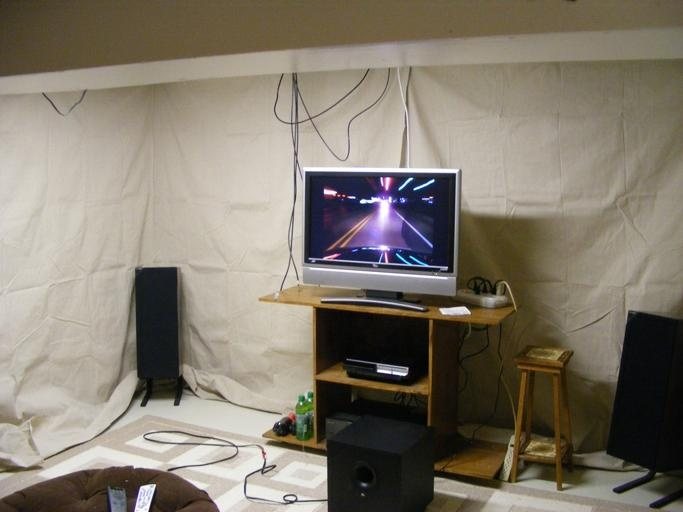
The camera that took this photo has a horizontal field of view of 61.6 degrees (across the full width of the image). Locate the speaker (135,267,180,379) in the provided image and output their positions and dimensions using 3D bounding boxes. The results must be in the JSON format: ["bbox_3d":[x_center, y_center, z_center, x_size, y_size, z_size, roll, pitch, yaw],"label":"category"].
[{"bbox_3d":[-1.285,0.465,4.000,0.296,0.771,0.135,-3,10,-14],"label":"speaker"}]

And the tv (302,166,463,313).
[{"bbox_3d":[0.234,-0.102,3.168,0.758,0.673,0.178,2,4,15],"label":"tv"}]

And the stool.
[{"bbox_3d":[1.098,0.821,3.098,0.313,0.666,0.556,3,10,22],"label":"stool"}]

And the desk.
[{"bbox_3d":[0.250,0.674,3.347,1.372,0.901,0.585,4,12,27],"label":"desk"}]

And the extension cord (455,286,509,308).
[{"bbox_3d":[0.773,0.211,3.174,0.120,0.051,0.201,-3,4,-40],"label":"extension cord"}]
